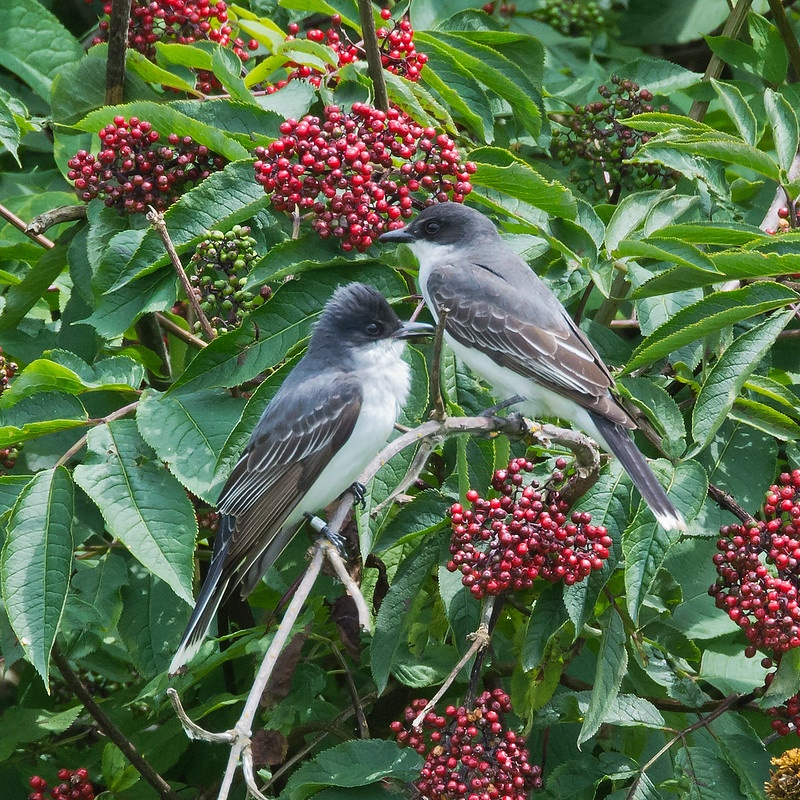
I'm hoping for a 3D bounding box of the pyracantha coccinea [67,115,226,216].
[{"bbox_3d":[-1.064,-0.939,4.876,0.693,0.232,0.331,-5,65,-18],"label":"pyracantha coccinea"}]

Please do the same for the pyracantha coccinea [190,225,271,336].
[{"bbox_3d":[-0.707,-0.470,4.921,0.398,0.462,0.208,15,35,-2],"label":"pyracantha coccinea"}]

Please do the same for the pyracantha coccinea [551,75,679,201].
[{"bbox_3d":[1.004,-1.208,5.859,0.713,0.592,0.897,2,-8,14],"label":"pyracantha coccinea"}]

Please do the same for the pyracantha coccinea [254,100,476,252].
[{"bbox_3d":[-0.159,-0.864,4.740,0.854,0.594,0.456,10,31,-9],"label":"pyracantha coccinea"}]
